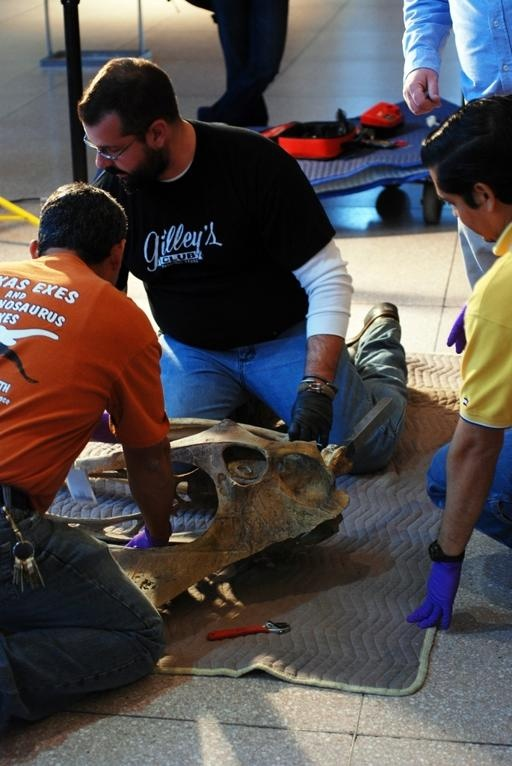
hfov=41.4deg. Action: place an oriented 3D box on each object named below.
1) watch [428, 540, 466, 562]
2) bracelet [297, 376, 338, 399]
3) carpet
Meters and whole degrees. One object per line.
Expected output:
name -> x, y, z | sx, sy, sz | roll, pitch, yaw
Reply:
watch -> 0.419, 0.374, 1.495 | 0.064, 0.043, 0.036 | 2, -13, 21
bracelet -> 0.192, 0.013, 2.024 | 0.102, 0.057, 0.096 | 14, -10, 37
carpet -> 0.082, 0.298, 1.605 | 0.759, 0.106, 0.740 | -1, 20, 7
